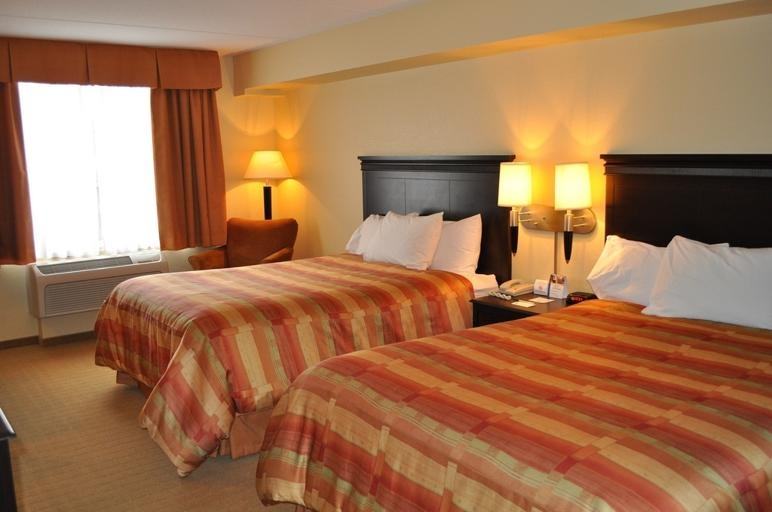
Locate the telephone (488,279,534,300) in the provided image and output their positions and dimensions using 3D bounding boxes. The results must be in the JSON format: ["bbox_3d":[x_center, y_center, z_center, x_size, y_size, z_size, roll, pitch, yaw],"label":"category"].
[{"bbox_3d":[1.097,0.290,4.454,0.255,0.072,0.185,-8,10,-41],"label":"telephone"}]

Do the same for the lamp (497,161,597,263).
[{"bbox_3d":[1.396,-0.386,4.414,0.305,0.805,0.906,-4,5,-42],"label":"lamp"}]

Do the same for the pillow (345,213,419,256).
[{"bbox_3d":[-0.063,-0.188,5.772,0.173,0.531,0.580,33,-8,-33],"label":"pillow"}]

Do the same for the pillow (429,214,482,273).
[{"bbox_3d":[0.661,-0.091,4.936,0.293,0.503,0.558,-12,8,-40],"label":"pillow"}]

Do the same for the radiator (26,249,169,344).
[{"bbox_3d":[-3.350,0.416,6.131,0.407,0.807,1.367,14,15,42],"label":"radiator"}]
